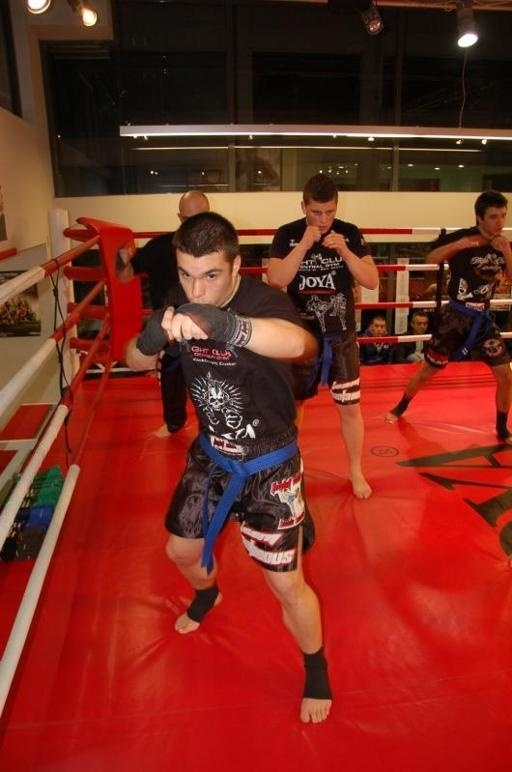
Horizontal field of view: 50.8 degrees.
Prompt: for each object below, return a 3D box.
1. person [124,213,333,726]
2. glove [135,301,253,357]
[{"bbox_3d":[-0.060,0.187,1.258,0.450,1.131,0.497,-4,19,-4],"label":"person"},{"bbox_3d":[-0.093,-0.117,0.990,0.149,0.048,0.121,-21,19,-38],"label":"glove"}]
